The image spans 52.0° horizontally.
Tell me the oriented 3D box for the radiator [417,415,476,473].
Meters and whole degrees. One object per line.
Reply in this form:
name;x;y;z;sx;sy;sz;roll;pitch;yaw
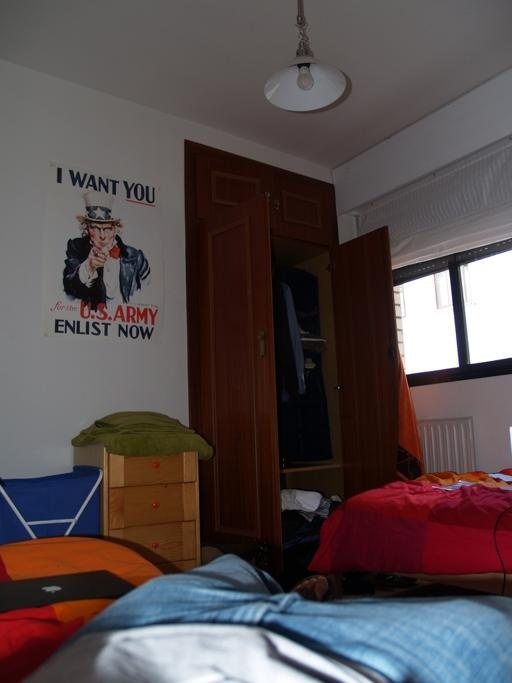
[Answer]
radiator;1.260;0.678;3.431;0.028;0.378;0.359;10;-15;-35

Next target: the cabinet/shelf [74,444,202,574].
cabinet/shelf;-0.525;0.756;2.614;0.486;0.628;0.467;-3;14;-25

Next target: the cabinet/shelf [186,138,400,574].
cabinet/shelf;0.189;-0.075;3.422;1.365;2.602;0.907;2;-6;-39
